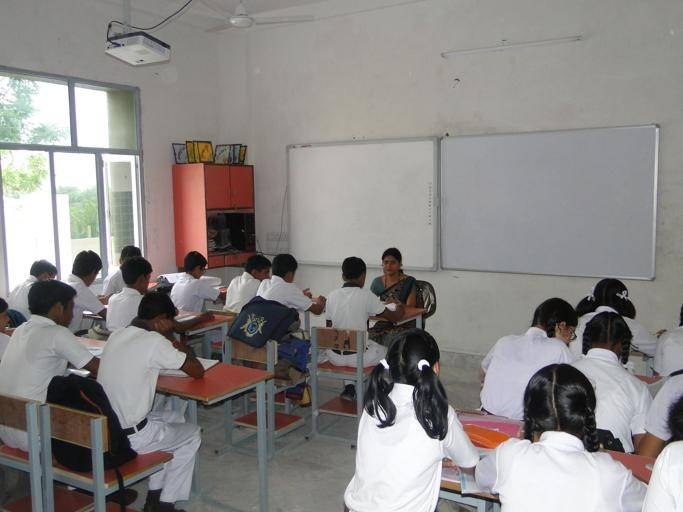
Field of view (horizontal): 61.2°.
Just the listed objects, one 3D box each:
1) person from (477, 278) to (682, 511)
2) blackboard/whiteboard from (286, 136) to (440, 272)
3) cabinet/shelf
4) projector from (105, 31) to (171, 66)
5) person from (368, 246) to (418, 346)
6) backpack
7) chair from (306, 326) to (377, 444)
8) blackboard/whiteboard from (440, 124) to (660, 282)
[{"bbox_3d":[1.304,0.696,3.028,0.477,1.137,0.699,20,58,29],"label":"person"},{"bbox_3d":[0.318,-0.645,6.859,1.644,1.226,0.072,1,4,29],"label":"blackboard/whiteboard"},{"bbox_3d":[-1.658,-0.517,7.251,0.661,1.734,1.232,1,4,29],"label":"cabinet/shelf"},{"bbox_3d":[-1.751,-1.764,4.942,0.508,0.114,0.520,-3,-2,-25],"label":"projector"},{"bbox_3d":[0.473,0.399,5.467,0.574,0.909,0.538,-3,8,-13],"label":"person"},{"bbox_3d":[-1.406,0.940,3.221,0.500,0.553,0.301,-1,6,22],"label":"backpack"},{"bbox_3d":[0.037,0.992,4.670,0.586,0.847,0.701,0,1,43],"label":"chair"},{"bbox_3d":[2.225,-0.568,5.946,1.624,1.141,0.112,2,8,27],"label":"blackboard/whiteboard"}]
